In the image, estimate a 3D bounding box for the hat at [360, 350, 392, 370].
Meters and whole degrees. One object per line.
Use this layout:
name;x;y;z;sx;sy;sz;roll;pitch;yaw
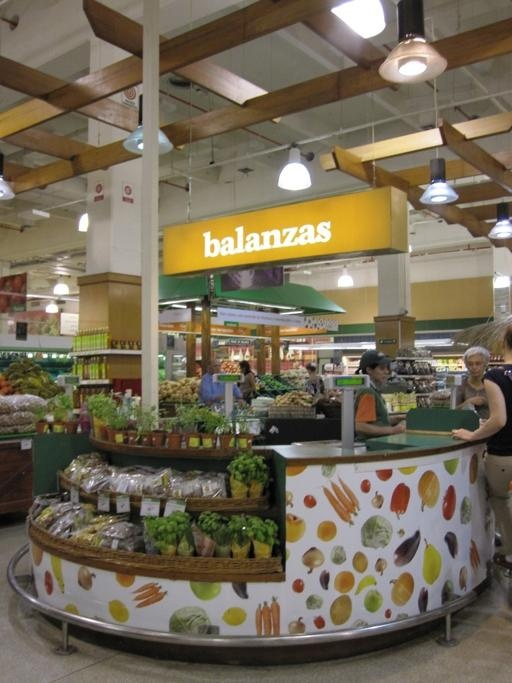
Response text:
hat;0.878;0.136;3.940;0.191;0.108;0.131;-13;8;14

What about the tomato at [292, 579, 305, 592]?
tomato;0.201;1.136;2.489;0.057;0.055;0.027;12;-14;3

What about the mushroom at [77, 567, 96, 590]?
mushroom;-0.877;1.230;2.824;0.100;0.120;0.029;-26;-21;30

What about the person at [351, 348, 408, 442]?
person;0.883;0.398;3.851;0.351;0.637;1.455;-1;0;15

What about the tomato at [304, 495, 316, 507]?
tomato;0.256;0.750;2.511;0.055;0.054;0.054;5;25;4

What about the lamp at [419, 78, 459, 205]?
lamp;1.711;-1.978;5.052;0.388;1.284;0.389;-6;16;19

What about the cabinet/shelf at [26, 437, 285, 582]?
cabinet/shelf;-0.516;0.778;2.836;1.014;0.302;0.799;1;-4;13
